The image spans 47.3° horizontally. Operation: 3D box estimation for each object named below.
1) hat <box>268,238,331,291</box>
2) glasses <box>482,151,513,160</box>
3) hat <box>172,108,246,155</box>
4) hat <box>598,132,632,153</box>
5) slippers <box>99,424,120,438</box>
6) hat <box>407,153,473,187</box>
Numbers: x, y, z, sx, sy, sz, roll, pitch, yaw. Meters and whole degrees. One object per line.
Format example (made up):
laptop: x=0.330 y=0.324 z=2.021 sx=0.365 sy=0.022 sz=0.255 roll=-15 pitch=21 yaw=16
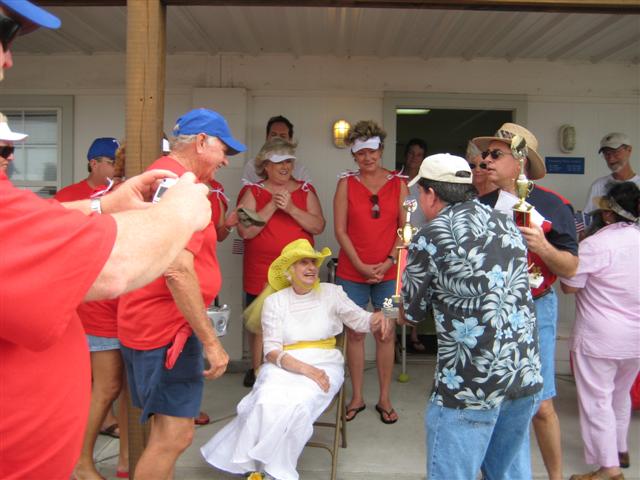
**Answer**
hat: x=-0.179 y=0.201 z=5.537 sx=0.460 sy=0.409 sz=0.365 roll=3 pitch=8 yaw=4
glasses: x=1.195 y=-0.576 z=4.974 sx=0.103 sy=0.031 sz=0.096 roll=9 pitch=-10 yaw=-33
hat: x=-0.663 y=-0.679 z=4.591 sx=0.451 sy=0.242 sz=0.289 roll=7 pitch=-5 yaw=-1
hat: x=2.869 y=-0.951 z=7.173 sx=0.249 sy=0.126 sz=0.179 roll=-7 pitch=2 yaw=-37
slippers: x=-1.754 y=1.561 z=5.941 sx=0.259 sy=0.068 sz=0.096 roll=2 pitch=-1 yaw=19
hat: x=0.713 y=-0.411 z=4.471 sx=0.359 sy=0.178 sz=0.251 roll=3 pitch=11 yaw=40
